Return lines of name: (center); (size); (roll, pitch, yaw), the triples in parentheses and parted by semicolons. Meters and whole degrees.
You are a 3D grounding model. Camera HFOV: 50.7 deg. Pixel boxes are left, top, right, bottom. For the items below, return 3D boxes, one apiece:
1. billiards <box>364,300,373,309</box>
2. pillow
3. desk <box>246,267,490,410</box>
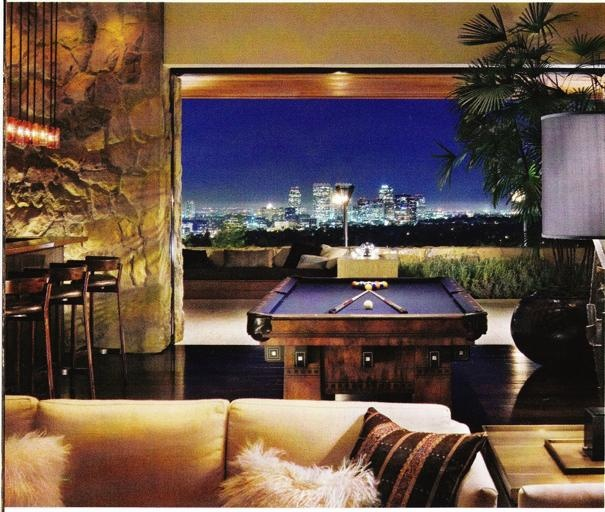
billiards: (0.443, 0.328, 4.322); (0.052, 0.048, 0.053); (0, -6, 0)
pillow: (0.429, 0.774, 2.539); (0.362, 0.370, 0.114); (-9, -45, 18)
desk: (0.435, 0.537, 4.528); (1.061, 0.779, 1.237); (-1, -3, 0)
